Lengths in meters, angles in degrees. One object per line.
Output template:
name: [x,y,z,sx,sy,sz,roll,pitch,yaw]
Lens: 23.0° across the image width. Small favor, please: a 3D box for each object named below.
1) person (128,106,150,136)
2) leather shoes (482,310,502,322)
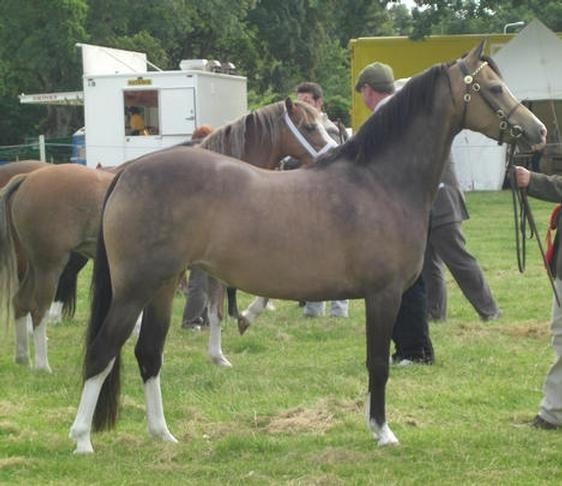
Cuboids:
person: [-2.955,-2.522,28.749,0.417,0.920,0.229,-3,-9,21]
leather shoes: [3.290,1.119,21.421,0.206,0.095,0.175,-7,-4,-5]
